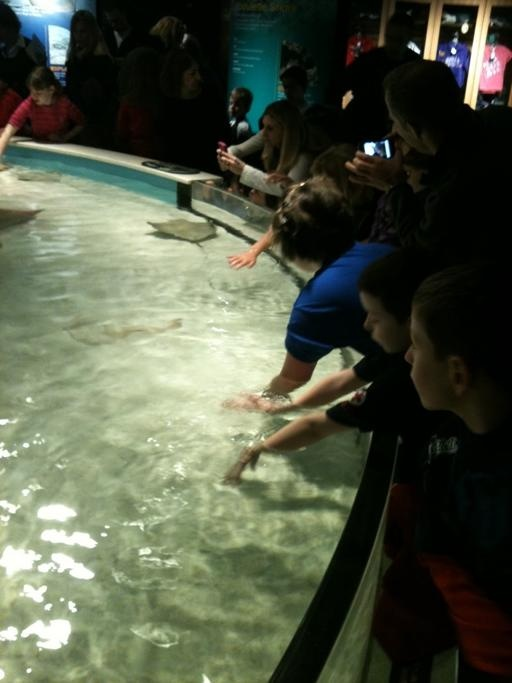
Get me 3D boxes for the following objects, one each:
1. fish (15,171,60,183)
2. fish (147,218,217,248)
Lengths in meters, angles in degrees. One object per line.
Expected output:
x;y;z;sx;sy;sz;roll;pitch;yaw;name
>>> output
-1.820;-1.386;4.666;0.324;0.107;0.467;2;14;-23;fish
-0.437;-0.681;3.393;0.283;0.069;0.252;-3;14;27;fish
